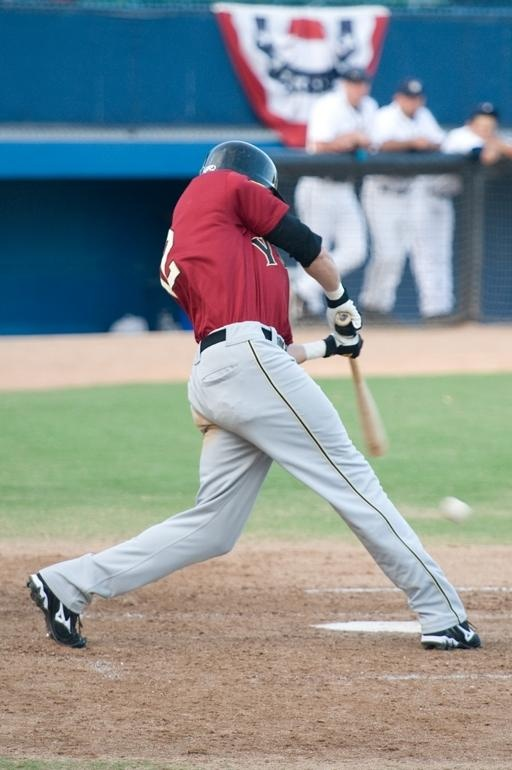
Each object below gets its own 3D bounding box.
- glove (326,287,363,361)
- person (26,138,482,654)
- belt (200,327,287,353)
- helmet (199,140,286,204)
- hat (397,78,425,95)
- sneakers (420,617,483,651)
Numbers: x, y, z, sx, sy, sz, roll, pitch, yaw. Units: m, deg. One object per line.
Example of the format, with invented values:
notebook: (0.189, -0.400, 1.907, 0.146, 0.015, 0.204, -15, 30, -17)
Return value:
glove: (0.284, -0.187, 3.765, 0.089, 0.196, 0.121, -21, 24, -18)
person: (-0.018, 0.030, 3.481, 1.283, 1.468, 0.384, -2, 3, -10)
belt: (-0.054, -0.130, 3.340, 0.124, 0.030, 0.113, -4, -6, 30)
helmet: (-0.040, -0.619, 3.579, 0.174, 0.174, 0.219, 28, -19, 13)
hat: (1.043, -2.030, 8.391, 0.152, 0.143, 0.247, -1, 2, 4)
sneakers: (0.554, 0.721, 3.517, 0.191, 0.081, 0.067, -2, -1, -16)
